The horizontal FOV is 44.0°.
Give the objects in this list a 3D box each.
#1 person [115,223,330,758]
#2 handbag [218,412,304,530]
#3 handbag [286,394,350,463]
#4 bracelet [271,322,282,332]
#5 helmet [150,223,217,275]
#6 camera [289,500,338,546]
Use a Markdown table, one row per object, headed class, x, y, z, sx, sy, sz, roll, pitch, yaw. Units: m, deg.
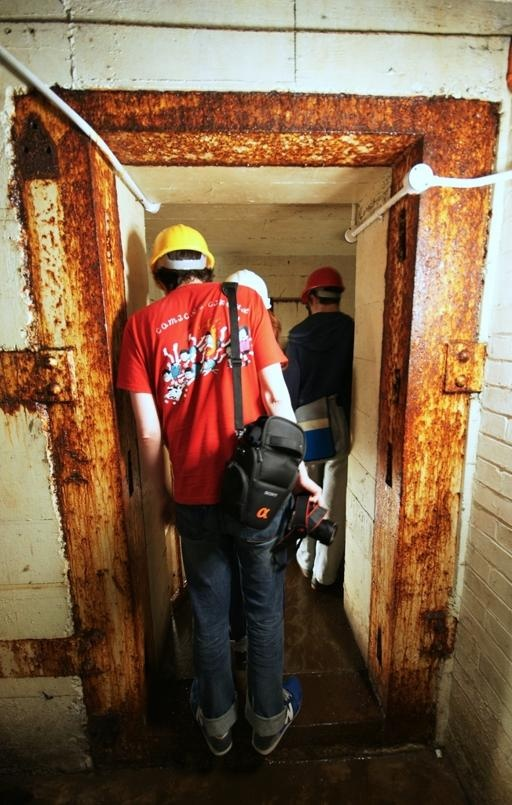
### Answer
| class | x | y | z | sx | sy | sz | roll | pitch | yaw |
| --- | --- | --- | --- | --- | --- | --- | --- | --- | --- |
| person | -0.131 | 0.299 | 1.977 | 0.624 | 1.638 | 0.358 | 11 | 16 | 29 |
| handbag | 0.005 | 0.187 | 1.747 | 0.167 | 0.313 | 0.241 | 24 | 1 | 37 |
| handbag | 0.270 | 0.111 | 2.541 | 0.247 | 0.247 | 0.082 | -11 | -8 | 3 |
| bracelet | 0.091 | -0.340 | 2.807 | 0.049 | 0.038 | 0.063 | 3 | 17 | -7 |
| helmet | -0.241 | -0.518 | 2.051 | 0.152 | 0.105 | 0.190 | 1 | -11 | -8 |
| camera | 0.171 | 0.358 | 1.879 | 0.136 | 0.139 | 0.062 | 37 | -25 | -22 |
